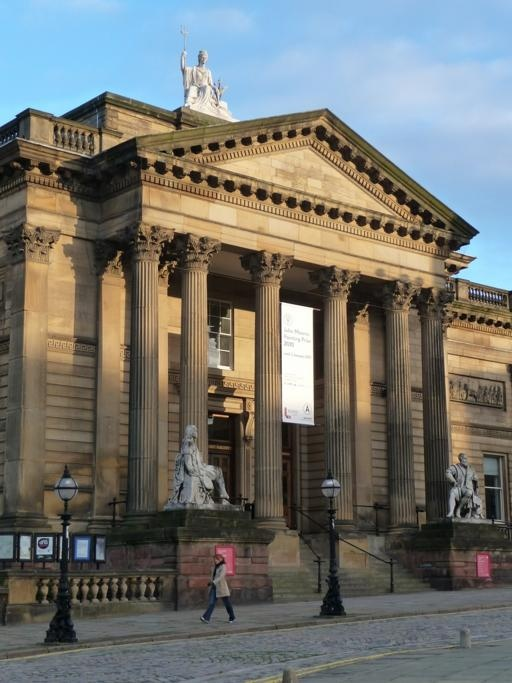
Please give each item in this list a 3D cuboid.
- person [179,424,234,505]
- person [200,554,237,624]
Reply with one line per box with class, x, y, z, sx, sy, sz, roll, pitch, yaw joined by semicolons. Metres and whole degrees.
person;-1.529;3.400;29.196;1.311;2.211;0.675;8;-13;-42
person;-0.807;5.314;23.040;0.724;1.449;1.750;0;-10;-1
